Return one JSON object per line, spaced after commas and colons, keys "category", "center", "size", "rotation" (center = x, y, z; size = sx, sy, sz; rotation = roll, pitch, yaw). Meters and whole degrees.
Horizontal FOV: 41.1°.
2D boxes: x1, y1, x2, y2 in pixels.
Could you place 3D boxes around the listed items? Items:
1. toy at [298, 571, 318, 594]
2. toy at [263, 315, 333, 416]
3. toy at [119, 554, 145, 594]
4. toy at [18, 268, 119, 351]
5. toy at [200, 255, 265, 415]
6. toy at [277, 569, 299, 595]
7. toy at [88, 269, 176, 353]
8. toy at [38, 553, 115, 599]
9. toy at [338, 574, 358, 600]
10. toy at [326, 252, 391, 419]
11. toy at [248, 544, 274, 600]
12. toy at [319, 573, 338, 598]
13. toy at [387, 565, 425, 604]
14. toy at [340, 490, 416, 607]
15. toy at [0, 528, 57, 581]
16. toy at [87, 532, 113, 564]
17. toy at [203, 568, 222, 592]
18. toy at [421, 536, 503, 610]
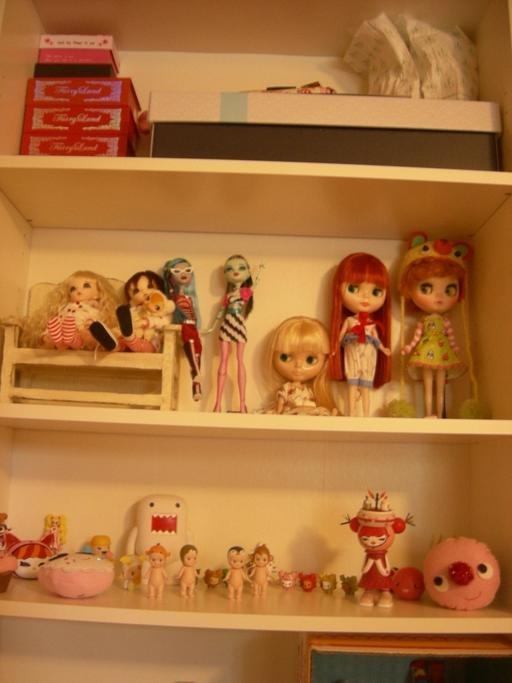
{"category": "toy", "center": [0.111, 0.488, 1.382], "size": [0.035, 0.041, 0.044], "rotation": [1, -32, 12]}
{"category": "toy", "center": [0.089, 0.055, 1.478], "size": [0.157, 0.212, 0.137], "rotation": [-1, -11, 5]}
{"category": "toy", "center": [-0.241, 0.451, 1.336], "size": [0.041, 0.062, 0.080], "rotation": [2, -10, -8]}
{"category": "toy", "center": [-0.376, -0.065, 1.384], "size": [0.189, 0.184, 0.147], "rotation": [2, -11, -10]}
{"category": "toy", "center": [-0.057, -0.031, 1.496], "size": [0.119, 0.381, 0.174], "rotation": [0, -11, 0]}
{"category": "toy", "center": [0.061, 0.471, 1.347], "size": [0.048, 0.052, 0.043], "rotation": [0, 0, -4]}
{"category": "toy", "center": [-0.244, -0.071, 1.419], "size": [0.126, 0.171, 0.190], "rotation": [-2, -3, 24]}
{"category": "toy", "center": [-0.330, 0.430, 1.256], "size": [0.131, 0.073, 0.132], "rotation": [2, -10, -14]}
{"category": "toy", "center": [0.185, 0.493, 1.377], "size": [0.030, 0.036, 0.010], "rotation": [-11, -9, 10]}
{"category": "toy", "center": [0.219, -0.014, 1.472], "size": [0.140, 0.367, 0.234], "rotation": [-2, -11, 10]}
{"category": "toy", "center": [0.011, 0.439, 1.296], "size": [0.051, 0.088, 0.031], "rotation": [5, -18, -8]}
{"category": "toy", "center": [0.144, 0.484, 1.363], "size": [0.035, 0.037, 0.039], "rotation": [1, -19, 3]}
{"category": "toy", "center": [0.291, 0.474, 1.327], "size": [0.069, 0.060, 0.065], "rotation": [-1, -21, 16]}
{"category": "toy", "center": [0.226, 0.392, 1.306], "size": [0.090, 0.204, 0.098], "rotation": [4, -11, -18]}
{"category": "toy", "center": [-0.438, 0.416, 1.323], "size": [0.129, 0.092, 0.074], "rotation": [9, -10, -34]}
{"category": "toy", "center": [-0.301, 0.411, 1.379], "size": [0.057, 0.063, 0.056], "rotation": [2, -4, -35]}
{"category": "toy", "center": [-0.089, 0.478, 1.362], "size": [0.044, 0.038, 0.041], "rotation": [4, -18, -9]}
{"category": "toy", "center": [0.401, 0.432, 1.274], "size": [0.161, 0.123, 0.105], "rotation": [3, -11, -16]}
